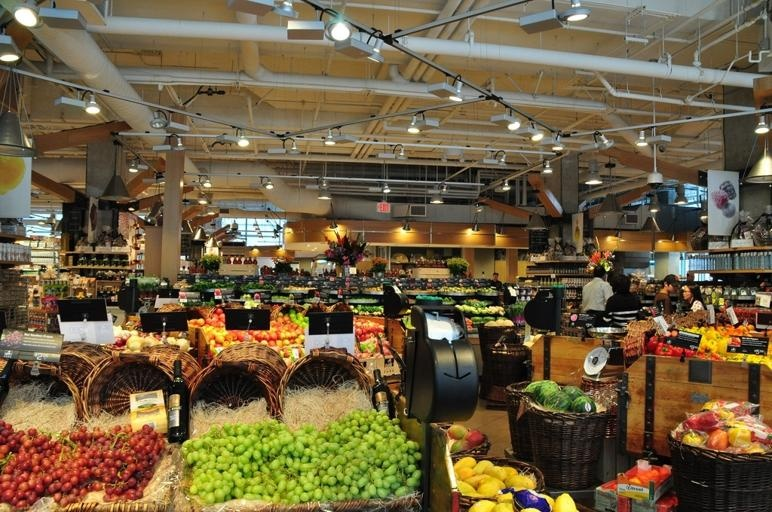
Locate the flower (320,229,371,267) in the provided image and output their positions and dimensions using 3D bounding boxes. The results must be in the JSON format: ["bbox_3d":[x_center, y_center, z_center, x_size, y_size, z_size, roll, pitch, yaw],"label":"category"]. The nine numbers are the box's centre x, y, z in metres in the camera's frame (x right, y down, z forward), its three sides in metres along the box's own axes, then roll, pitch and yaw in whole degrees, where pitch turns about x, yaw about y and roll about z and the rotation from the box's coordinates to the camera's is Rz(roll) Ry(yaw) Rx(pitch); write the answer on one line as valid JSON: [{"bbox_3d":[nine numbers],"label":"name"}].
[{"bbox_3d":[-0.973,-0.071,13.162,0.948,0.822,0.798,17,3,36],"label":"flower"}]

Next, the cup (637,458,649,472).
[{"bbox_3d":[2.124,1.728,4.882,0.113,0.087,0.108,2,-2,0],"label":"cup"}]

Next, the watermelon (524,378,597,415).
[{"bbox_3d":[1.540,1.268,5.326,0.359,0.119,0.393,3,-2,-24],"label":"watermelon"}]

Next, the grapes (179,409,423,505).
[{"bbox_3d":[-0.600,1.415,4.038,1.189,0.320,0.667,1,8,-8],"label":"grapes"}]

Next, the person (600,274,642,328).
[{"bbox_3d":[3.207,0.594,7.970,0.441,0.717,0.464,-1,-3,18],"label":"person"}]

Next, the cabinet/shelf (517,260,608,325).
[{"bbox_3d":[2.906,0.639,9.635,1.091,0.939,1.038,-9,12,36],"label":"cabinet/shelf"}]

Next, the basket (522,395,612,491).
[{"bbox_3d":[1.606,1.766,5.490,0.856,0.552,0.809,1,-9,1],"label":"basket"}]

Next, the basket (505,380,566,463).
[{"bbox_3d":[1.543,1.620,5.775,0.692,0.633,0.702,9,9,19],"label":"basket"}]

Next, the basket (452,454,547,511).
[{"bbox_3d":[0.852,1.701,4.467,0.547,0.154,0.473,2,-1,-8],"label":"basket"}]
